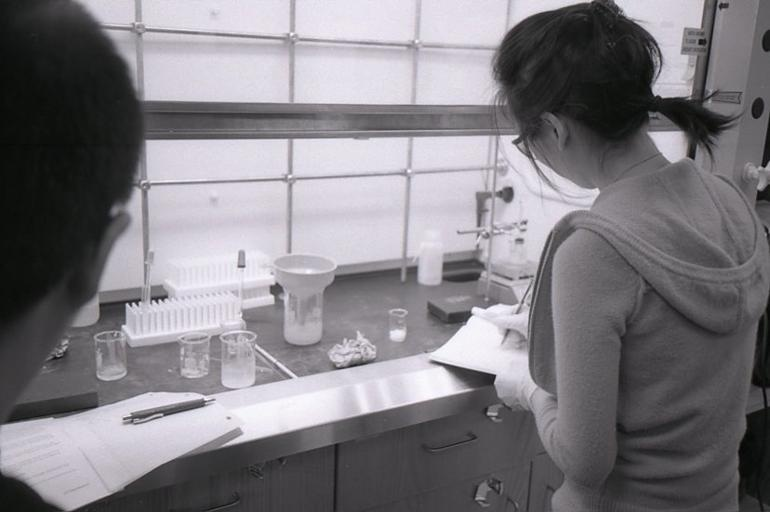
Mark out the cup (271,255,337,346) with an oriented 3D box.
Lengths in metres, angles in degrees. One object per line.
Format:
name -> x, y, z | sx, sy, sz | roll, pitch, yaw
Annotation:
cup -> -0.309, 0.163, 2.320 | 0.268, 0.289, 0.260 | 0, 13, 0

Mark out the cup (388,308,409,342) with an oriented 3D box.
cup -> 0.056, 0.271, 2.472 | 0.098, 0.138, 0.123 | 3, 4, 6

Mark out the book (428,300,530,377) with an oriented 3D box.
book -> 0.359, 0.302, 2.158 | 0.229, 0.091, 0.305 | 10, 21, 34

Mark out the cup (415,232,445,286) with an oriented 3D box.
cup -> 0.227, 0.006, 3.157 | 0.137, 0.281, 0.180 | -4, 8, 3

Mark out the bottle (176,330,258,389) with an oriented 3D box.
bottle -> -0.547, 0.345, 2.075 | 0.281, 0.164, 0.144 | 4, 5, 17
